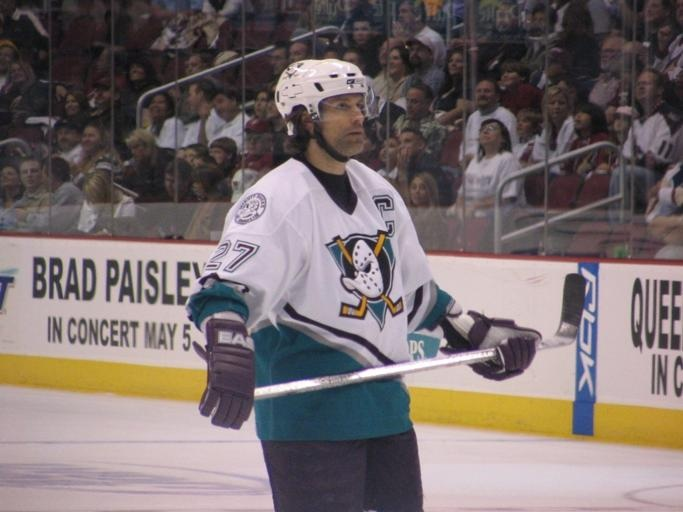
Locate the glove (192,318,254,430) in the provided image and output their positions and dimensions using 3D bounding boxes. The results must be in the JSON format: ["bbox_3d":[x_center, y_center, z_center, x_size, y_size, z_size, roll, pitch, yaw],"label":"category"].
[{"bbox_3d":[-0.703,0.712,10.323,0.330,0.678,0.077,-1,-1,-7],"label":"glove"}]

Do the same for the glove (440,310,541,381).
[{"bbox_3d":[0.969,0.575,10.934,0.447,0.543,0.779,2,10,-17],"label":"glove"}]

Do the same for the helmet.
[{"bbox_3d":[-0.104,-1.035,10.872,0.549,0.528,0.440,-6,-1,10],"label":"helmet"}]
